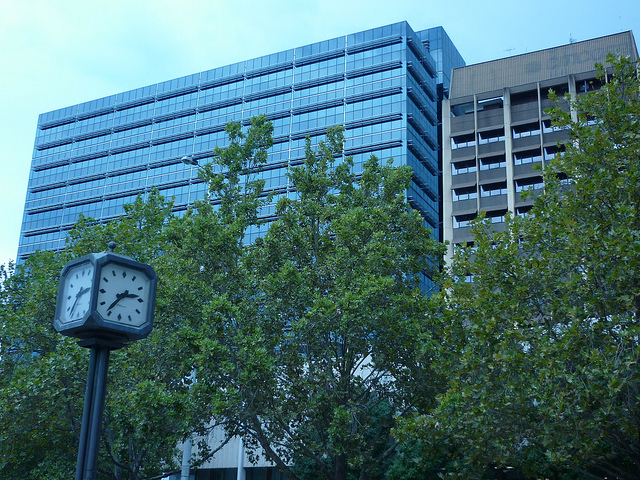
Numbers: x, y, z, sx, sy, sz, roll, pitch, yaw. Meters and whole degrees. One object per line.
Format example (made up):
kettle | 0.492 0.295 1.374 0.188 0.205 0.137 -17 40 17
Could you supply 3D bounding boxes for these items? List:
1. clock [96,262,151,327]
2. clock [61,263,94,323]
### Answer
clock | -5.983 1.702 27.309 1.667 1.775 0.193 12 -25 -33
clock | -7.258 1.648 27.276 1.374 1.632 0.164 -20 -31 37
